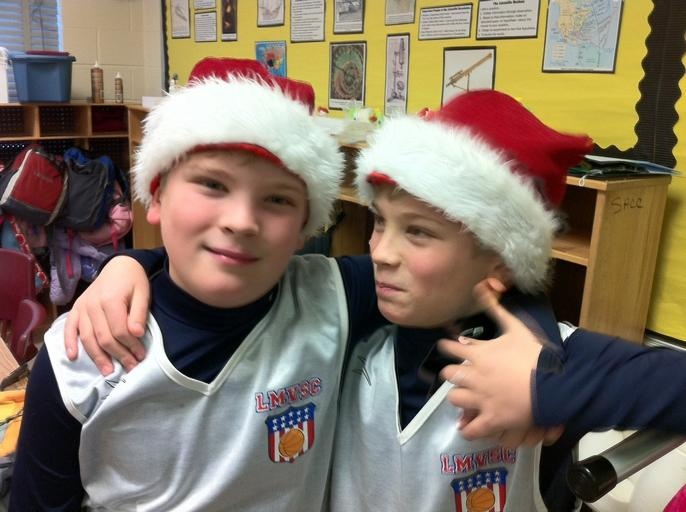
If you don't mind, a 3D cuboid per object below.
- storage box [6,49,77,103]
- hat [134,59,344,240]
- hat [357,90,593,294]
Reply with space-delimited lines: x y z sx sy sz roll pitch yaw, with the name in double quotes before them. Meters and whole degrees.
"storage box" -1.955 -1.162 3.589 0.412 0.317 0.351 -6 10 -27
"hat" -0.185 -0.169 1.069 0.282 0.262 0.335 11 -7 7
"hat" 0.187 -0.110 0.991 0.339 0.313 0.308 2 13 -9
